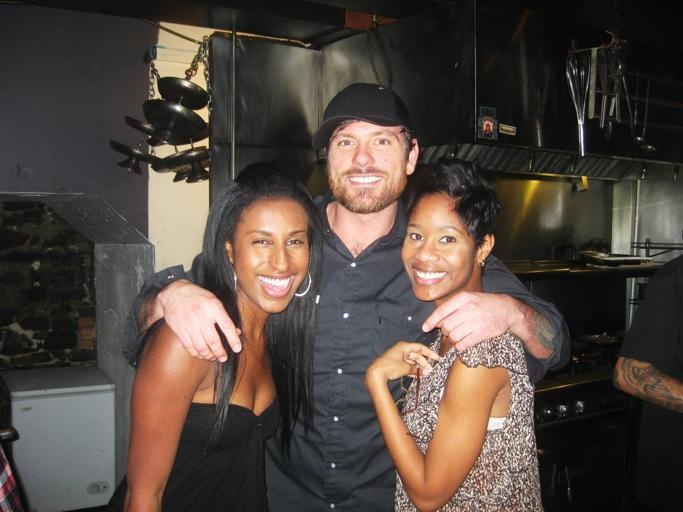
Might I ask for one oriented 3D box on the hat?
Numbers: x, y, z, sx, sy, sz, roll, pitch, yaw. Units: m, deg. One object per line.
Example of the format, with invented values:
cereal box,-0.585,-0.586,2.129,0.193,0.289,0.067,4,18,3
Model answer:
hat,0.102,-0.709,2.986,0.364,0.178,0.272,6,-7,-37
